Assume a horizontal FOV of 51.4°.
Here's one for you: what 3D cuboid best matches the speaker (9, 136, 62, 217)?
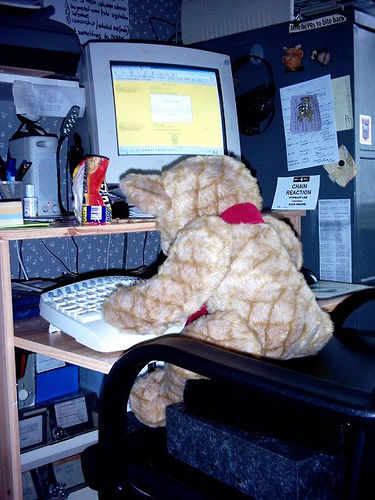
[{"bbox_3d":[-0.376,-0.190,0.985,0.103,0.197,0.104,17,20,41],"label":"speaker"}]

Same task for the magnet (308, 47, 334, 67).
[{"bbox_3d":[0.357,-0.513,1.033,0.010,0.047,0.074,-3,11,-44],"label":"magnet"}]

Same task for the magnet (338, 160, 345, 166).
[{"bbox_3d":[0.410,-0.231,1.031,0.003,0.014,0.016,-1,10,-37],"label":"magnet"}]

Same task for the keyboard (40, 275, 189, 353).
[{"bbox_3d":[-0.154,0.095,0.686,0.179,0.049,0.191,15,16,22],"label":"keyboard"}]

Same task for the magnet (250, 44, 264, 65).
[{"bbox_3d":[0.205,-0.583,1.166,0.041,0.051,0.013,7,8,29],"label":"magnet"}]

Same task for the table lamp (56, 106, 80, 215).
[{"bbox_3d":[-0.308,-0.238,1.019,0.077,0.257,0.044,18,21,41],"label":"table lamp"}]

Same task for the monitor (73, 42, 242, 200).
[{"bbox_3d":[-0.149,-0.334,1.052,0.194,0.402,0.574,14,19,43],"label":"monitor"}]
